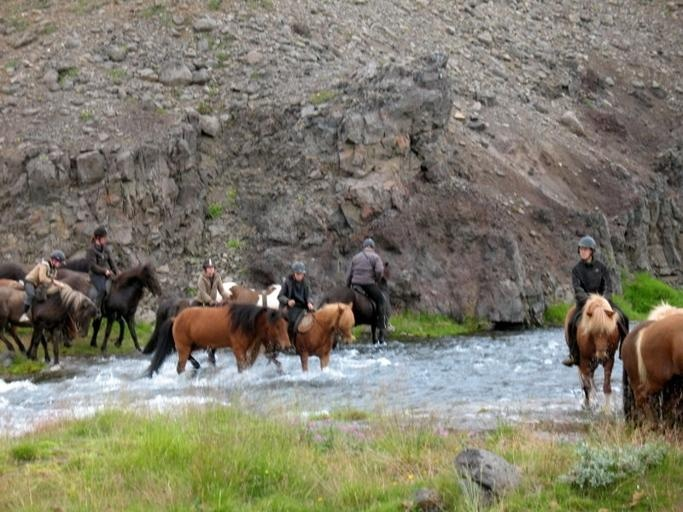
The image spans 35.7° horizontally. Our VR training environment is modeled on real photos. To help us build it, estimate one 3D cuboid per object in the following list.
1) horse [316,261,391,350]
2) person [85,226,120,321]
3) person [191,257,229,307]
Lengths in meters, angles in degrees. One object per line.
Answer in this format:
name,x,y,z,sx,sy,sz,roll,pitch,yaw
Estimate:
horse,0.820,2.331,45.495,4.591,4.675,1.433,0,2,-39
person,-10.077,0.596,44.387,0.963,4.143,0.941,-2,5,-16
person,-5.262,1.220,42.480,0.950,2.338,0.977,-4,7,-25
